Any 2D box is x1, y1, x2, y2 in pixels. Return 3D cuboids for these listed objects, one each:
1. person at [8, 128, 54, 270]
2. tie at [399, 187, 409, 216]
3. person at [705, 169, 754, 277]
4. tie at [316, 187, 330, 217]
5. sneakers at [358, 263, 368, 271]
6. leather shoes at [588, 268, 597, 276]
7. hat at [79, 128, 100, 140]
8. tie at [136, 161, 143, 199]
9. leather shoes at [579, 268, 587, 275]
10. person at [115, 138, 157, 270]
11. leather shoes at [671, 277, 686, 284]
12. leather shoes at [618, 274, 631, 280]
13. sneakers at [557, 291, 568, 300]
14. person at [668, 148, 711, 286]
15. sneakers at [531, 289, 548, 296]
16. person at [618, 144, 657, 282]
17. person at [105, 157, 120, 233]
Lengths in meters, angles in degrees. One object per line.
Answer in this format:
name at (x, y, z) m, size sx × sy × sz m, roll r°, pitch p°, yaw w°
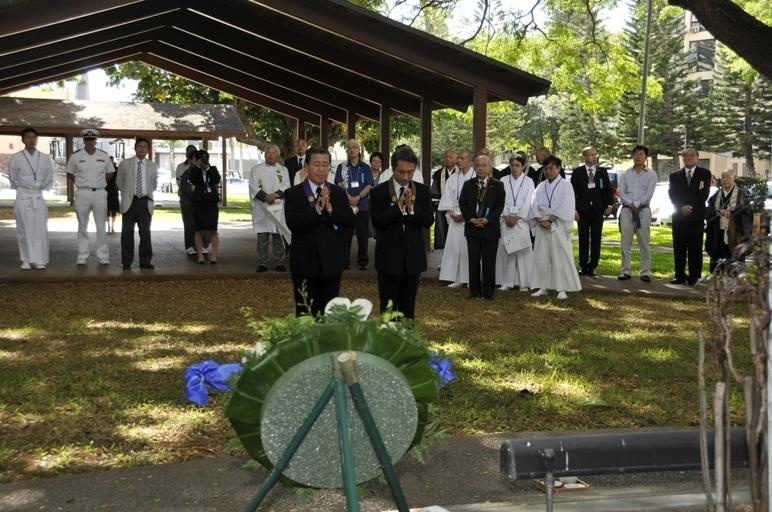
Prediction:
person at (-6.914, -1.129, 11.757) m, size 0.726 × 2.733 × 0.763 m, roll -1°, pitch 4°, yaw -32°
tie at (0.194, -0.614, 6.620) m, size 0.086 × 0.241 × 0.172 m, roll 0°, pitch -7°, yaw -1°
person at (6.241, -0.578, 11.052) m, size 0.752 × 1.899 × 0.586 m, roll 2°, pitch 32°, yaw 26°
tie at (-0.594, -0.532, 5.754) m, size 0.146 × 0.265 × 0.241 m, roll 0°, pitch 4°, yaw -7°
sneakers at (-0.483, 0.225, 12.600) m, size 0.137 × 0.123 × 0.161 m, roll 2°, pitch -20°, yaw -5°
leather shoes at (4.352, 0.322, 12.706) m, size 0.156 × 0.146 × 0.104 m, roll -21°, pitch 5°, yaw -33°
hat at (-5.868, -2.441, 11.956) m, size 0.261 × 0.247 × 0.696 m, roll -1°, pitch 4°, yaw -22°
tie at (-4.864, -1.534, 11.885) m, size 0.127 × 0.704 × 0.121 m, roll -1°, pitch 3°, yaw -20°
leather shoes at (4.161, 0.321, 12.738) m, size 0.101 × 0.164 × 0.172 m, roll -8°, pitch 25°, yaw 8°
person at (-4.960, -1.032, 11.964) m, size 0.721 × 2.558 × 1.008 m, roll 0°, pitch 3°, yaw -18°
leather shoes at (5.745, 0.475, 11.878) m, size 0.302 × 0.128 × 0.111 m, roll 3°, pitch 0°, yaw 7°
leather shoes at (4.763, 0.413, 12.063) m, size 0.287 × 0.119 × 0.104 m, roll 3°, pitch 1°, yaw -9°
sneakers at (3.108, 0.692, 10.611) m, size 0.098 × 0.167 × 0.273 m, roll -2°, pitch -14°, yaw 5°
person at (5.868, -0.777, 11.698) m, size 0.728 × 2.633 × 0.917 m, roll 2°, pitch 4°, yaw 25°
sneakers at (2.758, 0.650, 10.835) m, size 0.320 × 0.129 × 0.117 m, roll 0°, pitch 1°, yaw -3°
person at (5.084, -0.910, 12.246) m, size 0.656 × 2.763 × 1.377 m, roll 2°, pitch 4°, yaw 23°
person at (-8.700, -1.871, 19.069) m, size 0.659 × 2.237 × 0.642 m, roll 0°, pitch 36°, yaw -23°
